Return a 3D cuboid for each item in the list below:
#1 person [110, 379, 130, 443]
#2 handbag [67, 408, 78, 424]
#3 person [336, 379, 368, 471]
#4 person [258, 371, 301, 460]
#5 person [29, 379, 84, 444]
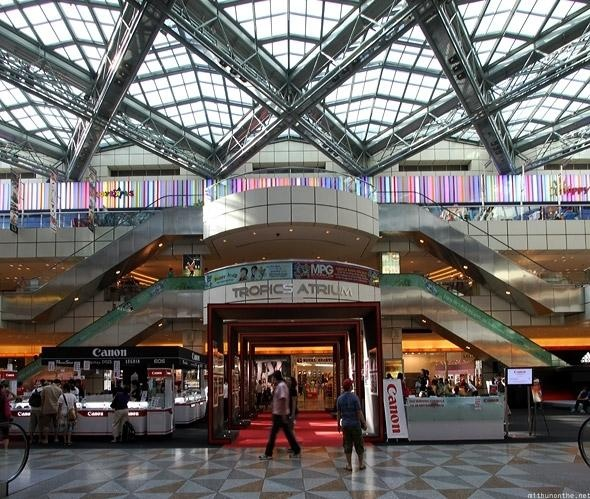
[{"bbox_3d":[-5.041,4.692,16.412,0.474,1.541,0.616,0,-9,-17],"label":"person"},{"bbox_3d":[-6.192,4.628,15.918,0.124,0.396,0.319,-5,-9,18],"label":"handbag"},{"bbox_3d":[1.131,3.581,11.721,0.506,1.795,0.554,-3,-8,5],"label":"person"},{"bbox_3d":[-0.371,3.822,13.358,0.856,1.987,1.373,-2,-8,0],"label":"person"},{"bbox_3d":[-6.761,4.619,16.204,1.027,1.664,1.348,1,-9,-23],"label":"person"}]
